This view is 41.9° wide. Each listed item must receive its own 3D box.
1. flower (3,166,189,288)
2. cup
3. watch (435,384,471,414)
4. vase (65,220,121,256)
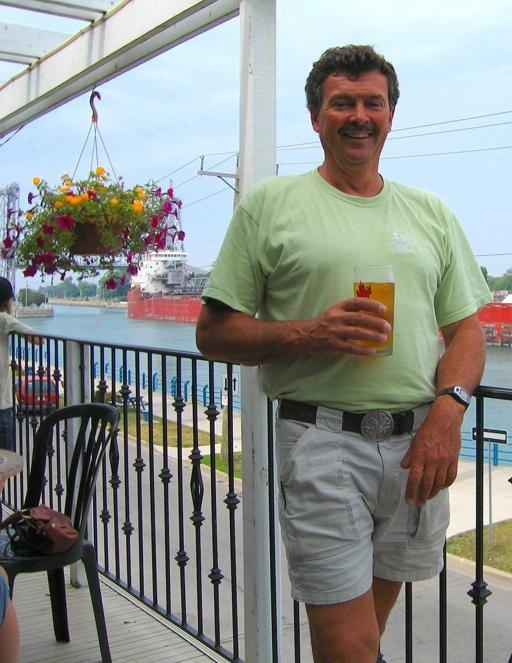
[{"bbox_3d":[-0.818,-0.505,3.173,0.850,0.539,0.548,0,0,26],"label":"flower"},{"bbox_3d":[0.223,-0.042,1.272,0.079,0.165,0.125,0,0,11],"label":"cup"},{"bbox_3d":[0.378,0.121,1.301,0.060,0.037,0.065,-19,-37,36],"label":"watch"},{"bbox_3d":[-0.718,-0.411,2.943,0.182,0.101,0.164,0,-2,0],"label":"vase"}]
